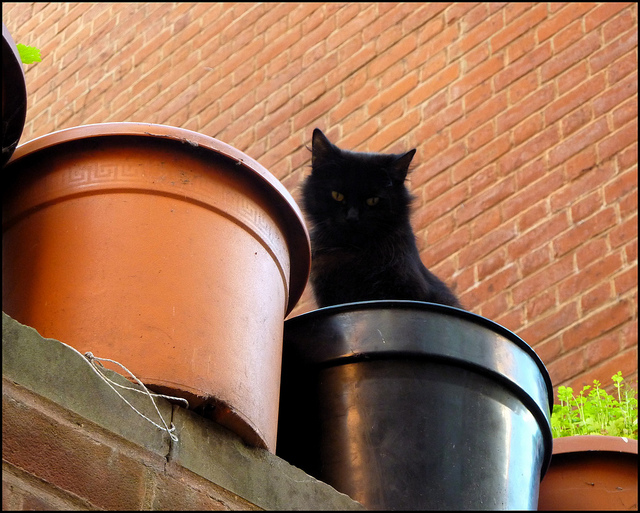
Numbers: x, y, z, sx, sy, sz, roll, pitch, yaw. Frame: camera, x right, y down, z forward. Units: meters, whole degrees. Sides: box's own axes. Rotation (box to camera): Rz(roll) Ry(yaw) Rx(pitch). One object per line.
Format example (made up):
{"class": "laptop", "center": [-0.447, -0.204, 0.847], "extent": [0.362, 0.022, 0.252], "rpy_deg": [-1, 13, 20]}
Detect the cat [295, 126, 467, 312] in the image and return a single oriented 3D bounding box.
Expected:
{"class": "cat", "center": [0.173, -0.106, 5.757], "extent": [0.528, 0.630, 0.494], "rpy_deg": [-1, -17, 6]}

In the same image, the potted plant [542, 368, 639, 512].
{"class": "potted plant", "center": [0.818, 0.602, 5.565], "extent": [0.341, 0.221, 0.358], "rpy_deg": [4, -34, -3]}
